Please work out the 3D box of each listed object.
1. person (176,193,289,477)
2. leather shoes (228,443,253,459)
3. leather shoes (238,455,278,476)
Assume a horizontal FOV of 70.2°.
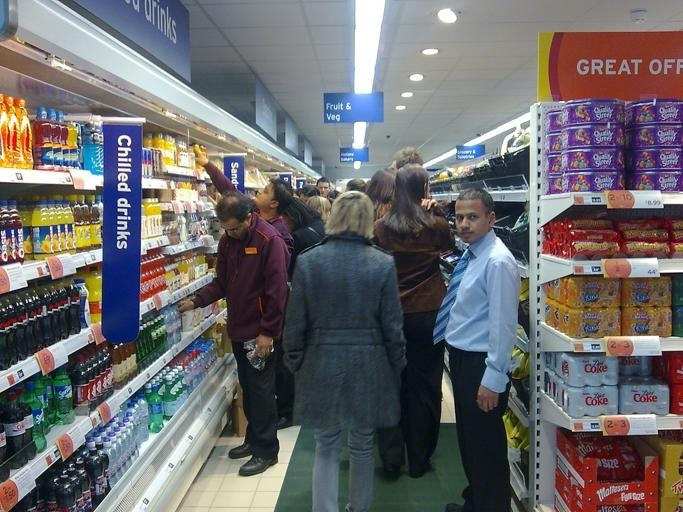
[{"bbox_3d":[-0.780,0.609,3.738,0.718,2.135,0.654,3,7,29],"label":"person"},{"bbox_3d":[-0.834,1.631,4.098,0.225,0.096,0.083,7,1,-32],"label":"leather shoes"},{"bbox_3d":[-0.647,1.627,3.828,0.110,0.133,0.308,-4,-7,41],"label":"leather shoes"}]
